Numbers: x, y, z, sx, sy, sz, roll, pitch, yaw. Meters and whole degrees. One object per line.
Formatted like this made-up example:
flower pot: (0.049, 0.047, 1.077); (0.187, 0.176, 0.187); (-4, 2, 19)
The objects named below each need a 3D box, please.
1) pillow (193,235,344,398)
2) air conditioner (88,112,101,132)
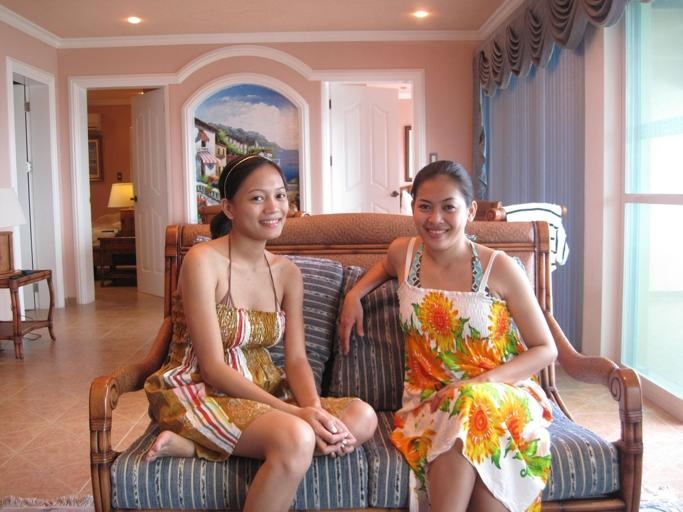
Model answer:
pillow: (-0.142, 0.243, 1.982); (0.570, 0.647, 0.230); (2, -12, 2)
air conditioner: (-4.819, -2.636, 9.369); (0.318, 0.364, 0.171); (0, 4, -3)
